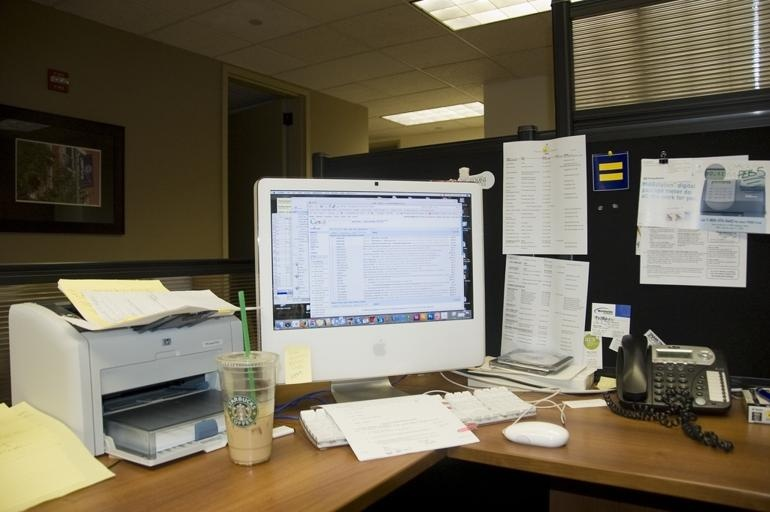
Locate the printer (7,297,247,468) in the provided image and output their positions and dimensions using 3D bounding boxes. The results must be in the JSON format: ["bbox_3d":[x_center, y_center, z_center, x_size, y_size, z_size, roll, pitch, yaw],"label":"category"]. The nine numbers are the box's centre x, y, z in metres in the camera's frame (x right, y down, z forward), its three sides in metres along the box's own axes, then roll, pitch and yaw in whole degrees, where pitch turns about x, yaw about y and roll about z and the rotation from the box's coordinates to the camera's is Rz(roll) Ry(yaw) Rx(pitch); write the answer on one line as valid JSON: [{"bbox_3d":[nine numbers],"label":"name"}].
[{"bbox_3d":[-0.615,0.251,1.231,0.479,0.267,0.344,0,1,38],"label":"printer"}]

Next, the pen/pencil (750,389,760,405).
[{"bbox_3d":[0.932,0.355,1.307,0.007,0.027,0.028,-9,-32,18],"label":"pen/pencil"}]

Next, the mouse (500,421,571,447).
[{"bbox_3d":[0.340,0.405,1.177,0.099,0.028,0.063,-3,-2,23],"label":"mouse"}]

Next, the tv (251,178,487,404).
[{"bbox_3d":[-0.053,0.074,1.522,0.672,0.558,0.208,-2,0,-25],"label":"tv"}]

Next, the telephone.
[{"bbox_3d":[0.748,0.301,1.347,0.256,0.083,0.237,-3,23,19],"label":"telephone"}]
